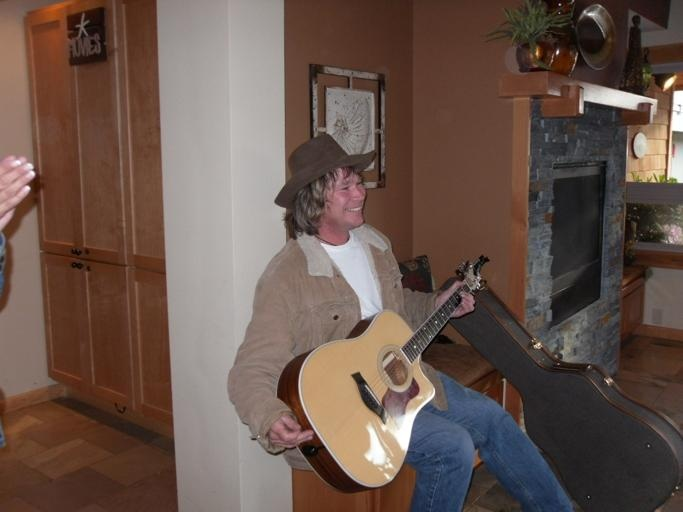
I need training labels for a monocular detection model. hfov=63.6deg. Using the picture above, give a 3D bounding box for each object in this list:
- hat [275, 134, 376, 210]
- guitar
[{"bbox_3d":[-0.120,-0.458,2.718,0.554,0.233,0.502,-27,3,12],"label":"hat"},{"bbox_3d":[0.303,0.430,2.530,1.278,0.587,0.184,-38,-1,-37],"label":"guitar"}]
